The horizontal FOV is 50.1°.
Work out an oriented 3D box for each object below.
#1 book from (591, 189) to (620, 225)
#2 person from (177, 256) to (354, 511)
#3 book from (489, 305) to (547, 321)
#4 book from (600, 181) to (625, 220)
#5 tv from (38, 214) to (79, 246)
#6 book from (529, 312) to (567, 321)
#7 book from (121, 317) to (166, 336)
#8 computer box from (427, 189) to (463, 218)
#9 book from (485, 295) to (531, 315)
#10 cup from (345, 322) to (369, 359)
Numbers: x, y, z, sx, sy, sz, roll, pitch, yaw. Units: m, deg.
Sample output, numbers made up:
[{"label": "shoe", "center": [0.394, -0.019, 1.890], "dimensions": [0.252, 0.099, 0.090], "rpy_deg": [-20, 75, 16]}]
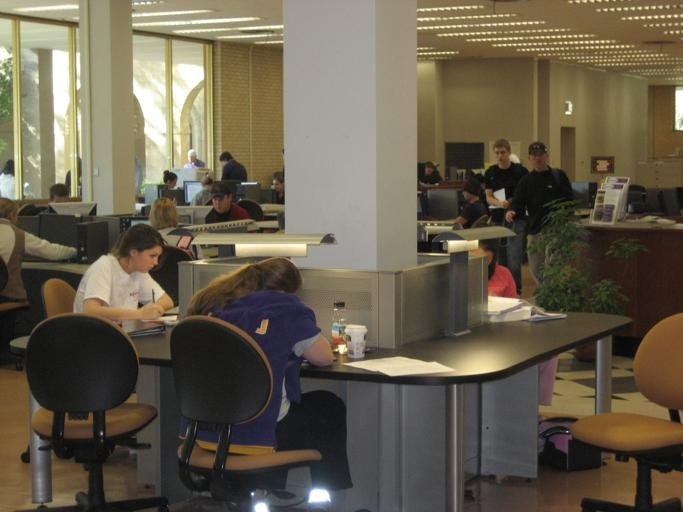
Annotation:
[{"label": "book", "center": [2.357, -0.438, 6.486], "dimensions": [0.197, 0.294, 0.082], "rpy_deg": [-1, -17, 35]}, {"label": "person", "center": [-0.300, 0.525, 3.167], "dimensions": [0.670, 0.997, 0.423], "rpy_deg": [-2, 6, -15]}, {"label": "book", "center": [1.002, 0.338, 4.173], "dimensions": [0.144, 0.064, 0.198], "rpy_deg": [1, 1, 42]}, {"label": "book", "center": [2.445, -0.501, 6.525], "dimensions": [0.104, 0.365, 0.246], "rpy_deg": [13, -10, -38]}, {"label": "tv", "center": [-2.694, -0.258, 6.964], "dimensions": [0.341, 0.348, 0.088], "rpy_deg": [8, 4, 9]}, {"label": "book", "center": [1.186, 0.352, 4.195], "dimensions": [0.134, 0.041, 0.083], "rpy_deg": [0, 1, 12]}, {"label": "book", "center": [-1.086, 0.391, 3.981], "dimensions": [0.148, 0.038, 0.147], "rpy_deg": [9, 10, 42]}, {"label": "computer box", "center": [1.626, -0.829, 11.490], "dimensions": [0.449, 0.694, 0.490], "rpy_deg": [4, 6, 21]}, {"label": "book", "center": [0.914, 0.273, 4.215], "dimensions": [0.123, 0.064, 0.166], "rpy_deg": [-1, 7, -14]}, {"label": "cup", "center": [0.066, 0.405, 3.462], "dimensions": [0.113, 0.150, 0.125], "rpy_deg": [-1, -6, 2]}]
